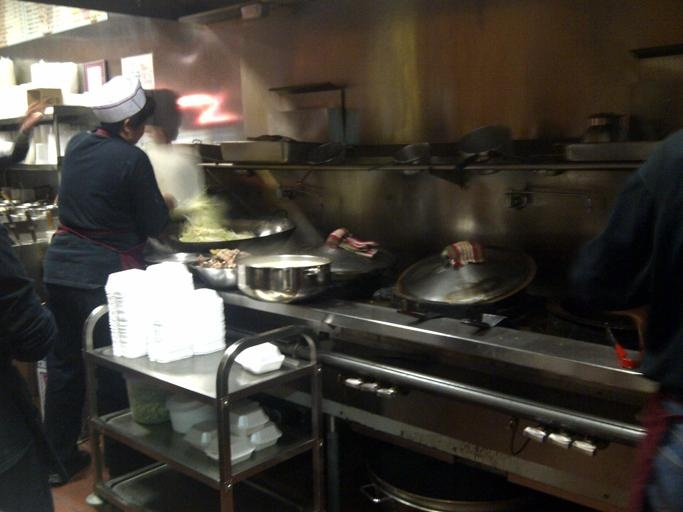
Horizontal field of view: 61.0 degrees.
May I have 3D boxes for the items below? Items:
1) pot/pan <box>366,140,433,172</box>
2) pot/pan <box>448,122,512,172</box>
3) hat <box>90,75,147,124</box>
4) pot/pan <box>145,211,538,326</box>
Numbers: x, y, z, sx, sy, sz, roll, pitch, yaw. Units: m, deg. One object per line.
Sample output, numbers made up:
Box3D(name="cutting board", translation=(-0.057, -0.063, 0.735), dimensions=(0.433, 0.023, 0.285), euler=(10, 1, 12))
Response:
Box3D(name="pot/pan", translation=(0.280, -0.465, 2.797), dimensions=(0.251, 0.142, 0.241), euler=(-3, 11, -8))
Box3D(name="pot/pan", translation=(0.622, -0.481, 2.547), dimensions=(0.230, 0.186, 0.251), euler=(1, 12, 13))
Box3D(name="hat", translation=(-1.229, -0.860, 3.179), dimensions=(0.314, 0.096, 0.273), euler=(-18, 41, 0))
Box3D(name="pot/pan", translation=(0.144, 0.045, 2.666), dimensions=(1.412, 0.292, 0.567), euler=(4, 13, 29))
